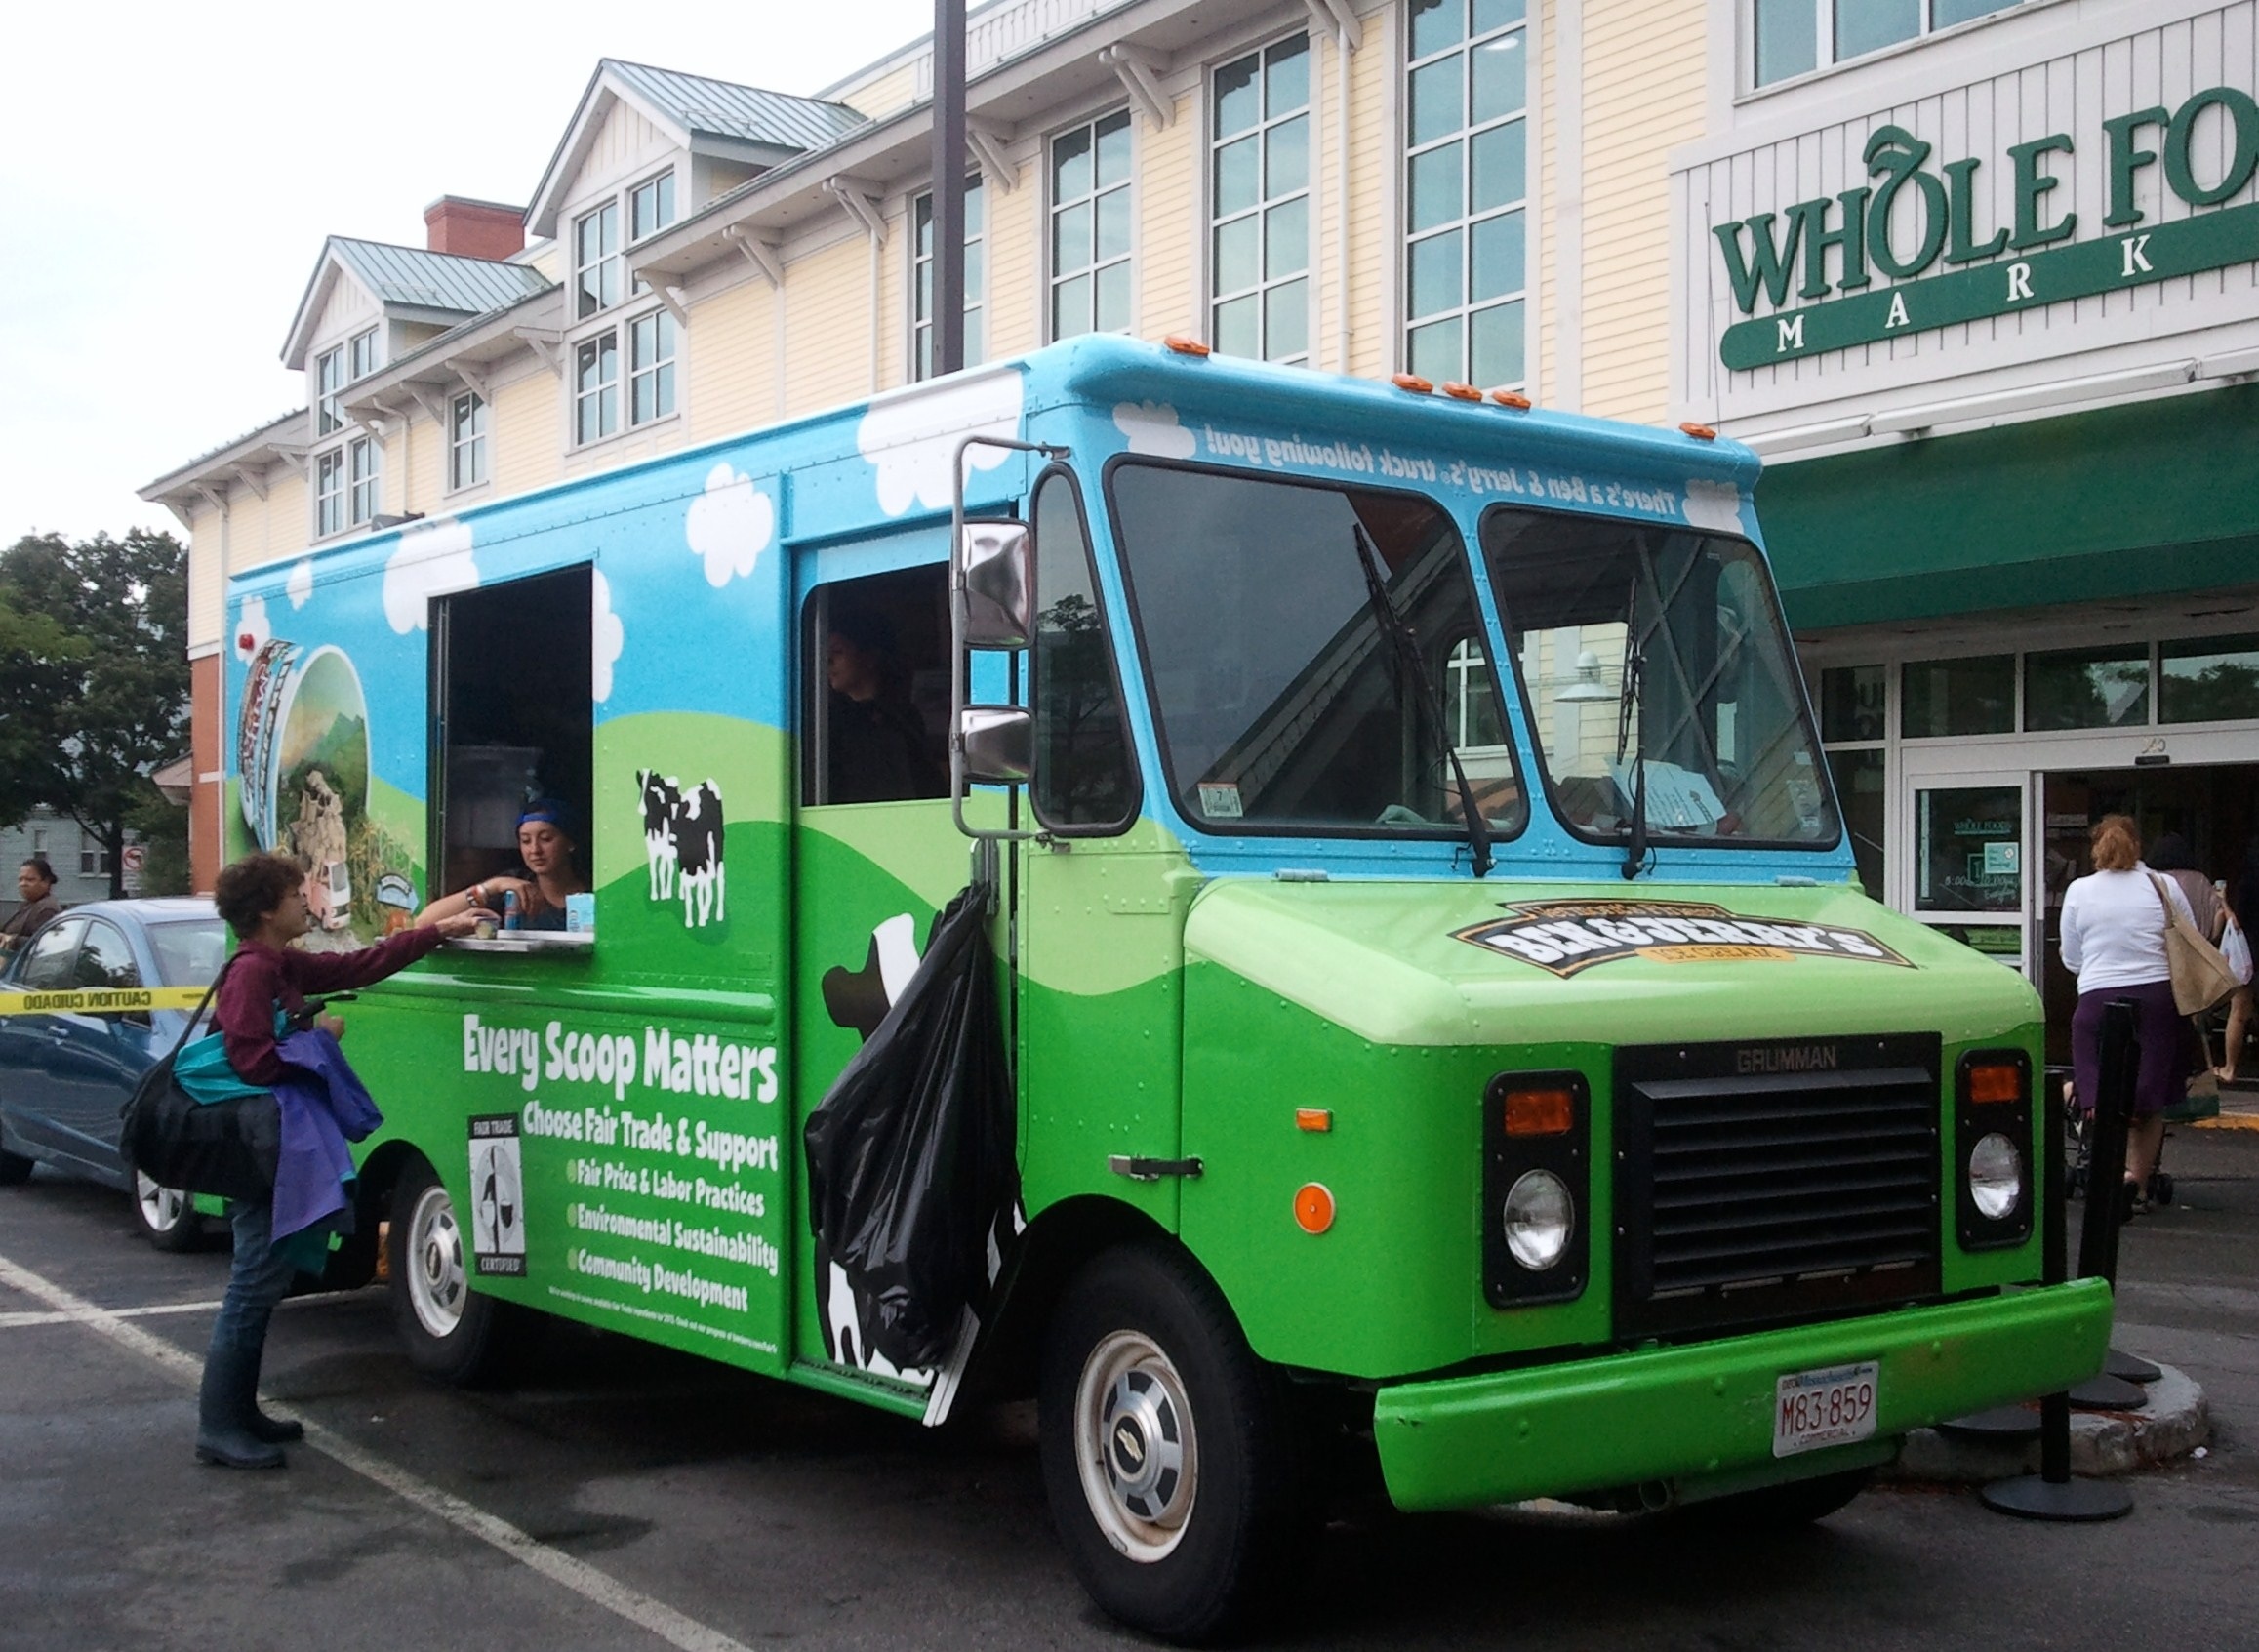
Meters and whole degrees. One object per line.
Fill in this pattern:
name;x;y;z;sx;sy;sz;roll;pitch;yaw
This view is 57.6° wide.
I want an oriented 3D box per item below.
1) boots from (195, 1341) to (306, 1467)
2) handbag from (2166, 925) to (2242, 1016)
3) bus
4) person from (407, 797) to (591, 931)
boots;-3.397;2.198;7.973;0.394;0.527;0.451;0;-1;-11
handbag;6.253;0.837;11.988;0.268;0.566;0.543;-19;-12;37
bus;-0.035;0.644;7.191;2.310;2.925;5.271;-1;-2;-34
person;-2.736;0.164;9.008;0.770;0.837;0.529;-7;7;-27
